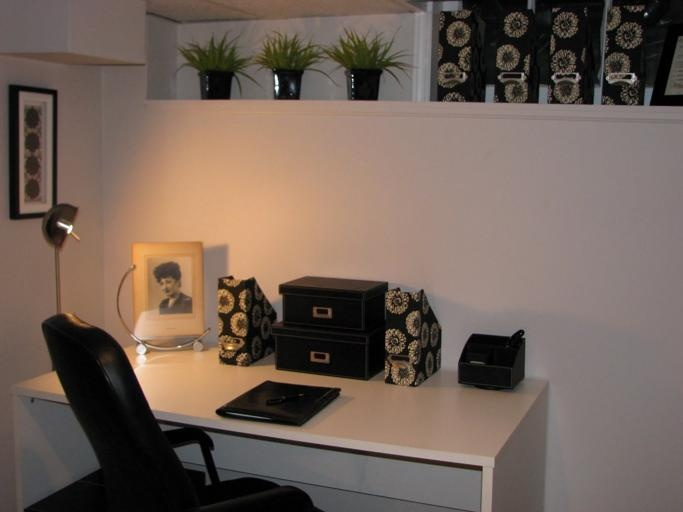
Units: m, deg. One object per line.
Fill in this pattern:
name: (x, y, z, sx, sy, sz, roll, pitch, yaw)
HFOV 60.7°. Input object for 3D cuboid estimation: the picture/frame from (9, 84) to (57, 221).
picture/frame: (-1.394, -0.457, 2.611, 0.078, 0.560, 0.256, 4, 12, 13)

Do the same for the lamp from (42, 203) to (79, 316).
lamp: (-1.284, 0.019, 2.666, 0.143, 0.531, 0.426, -5, 13, -26)

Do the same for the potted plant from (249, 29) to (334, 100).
potted plant: (-0.232, -0.867, 2.678, 0.397, 0.311, 0.201, 2, 12, 5)

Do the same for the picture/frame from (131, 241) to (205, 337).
picture/frame: (-0.819, 0.159, 2.720, 0.378, 0.584, 0.055, -1, -2, -10)

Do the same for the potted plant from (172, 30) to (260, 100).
potted plant: (-0.617, -0.861, 2.750, 0.329, 0.281, 0.333, 0, 6, 12)

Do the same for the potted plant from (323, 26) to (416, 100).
potted plant: (0.100, -0.810, 2.626, 0.379, 0.291, 0.346, 2, 0, 27)
